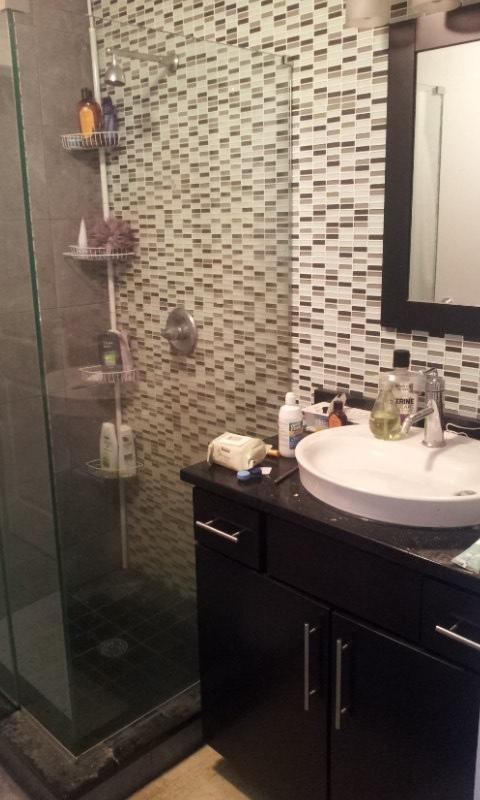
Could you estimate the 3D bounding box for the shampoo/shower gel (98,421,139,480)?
[{"bbox_3d":[-0.324,0.129,1.596,0.064,0.157,0.109,9,15,42],"label":"shampoo/shower gel"}]
